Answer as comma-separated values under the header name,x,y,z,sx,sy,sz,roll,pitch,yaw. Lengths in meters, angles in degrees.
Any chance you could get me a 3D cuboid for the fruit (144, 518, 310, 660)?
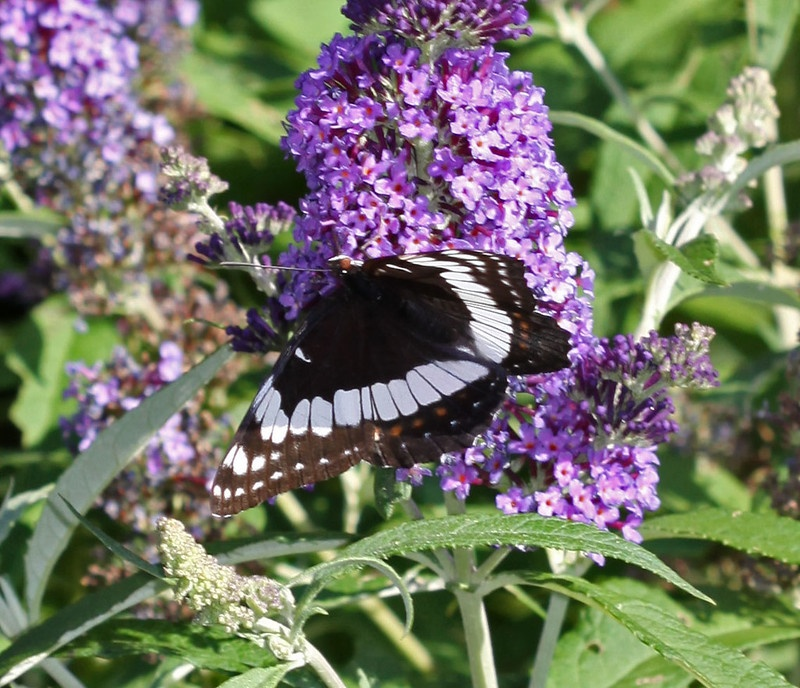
name,x,y,z,sx,sy,sz,roll,pitch,yaw
fruit,-0.396,0.590,2.367,0.394,0.345,0.151,25,65,7
